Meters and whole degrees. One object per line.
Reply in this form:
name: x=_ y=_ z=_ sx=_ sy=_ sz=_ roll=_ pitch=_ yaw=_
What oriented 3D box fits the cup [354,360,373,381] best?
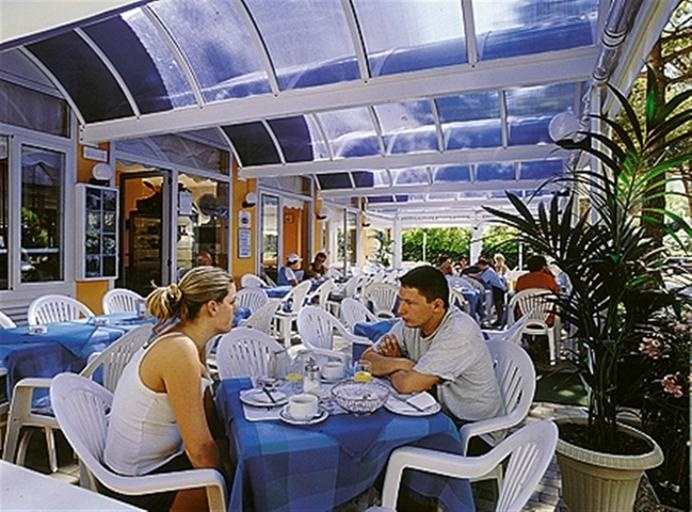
cup: x=0.103 y=0.724 z=3.314 sx=0.091 sy=0.110 sz=0.103 roll=1 pitch=-5 yaw=-2

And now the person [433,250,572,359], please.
person: x=1.833 y=0.553 z=6.093 sx=0.896 sy=1.303 sz=0.989 roll=5 pitch=40 yaw=25

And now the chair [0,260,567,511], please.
chair: x=-0.307 y=0.735 z=3.052 sx=2.057 sy=1.247 sz=0.927 roll=1 pitch=-1 yaw=7

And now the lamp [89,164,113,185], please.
lamp: x=-3.121 y=-1.068 z=6.777 sx=0.288 sy=0.282 sz=0.275 roll=2 pitch=-1 yaw=-42

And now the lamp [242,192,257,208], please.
lamp: x=-1.729 y=-1.032 z=9.644 sx=0.186 sy=0.256 sz=0.344 roll=1 pitch=-1 yaw=29
